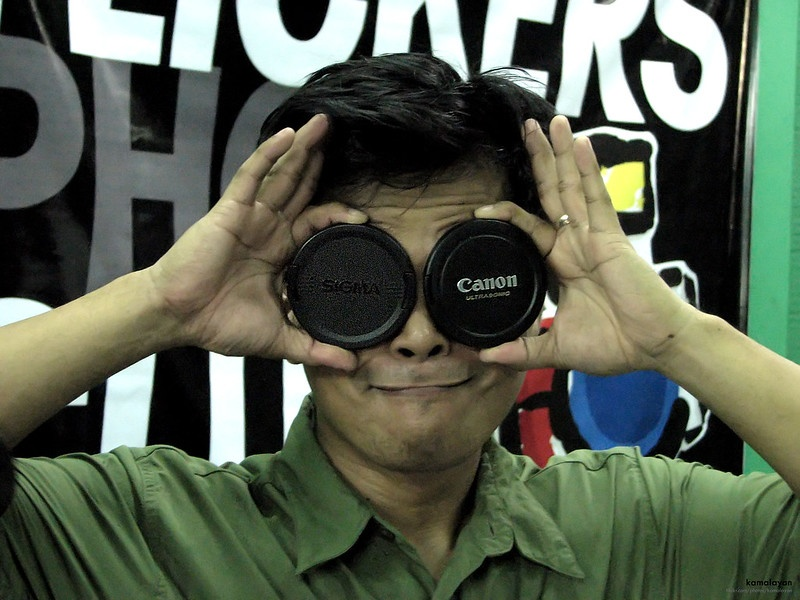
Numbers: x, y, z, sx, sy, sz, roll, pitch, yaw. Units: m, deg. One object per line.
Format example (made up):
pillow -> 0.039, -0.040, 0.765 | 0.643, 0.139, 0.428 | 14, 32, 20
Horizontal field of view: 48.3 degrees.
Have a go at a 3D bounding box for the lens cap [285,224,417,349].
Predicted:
lens cap -> -0.151, -0.034, 2.753 | 0.399, 0.066, 0.384 | -2, 87, 5

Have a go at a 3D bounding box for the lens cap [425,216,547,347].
lens cap -> 0.264, -0.045, 2.813 | 0.373, 0.213, 0.405 | 11, 88, 6
